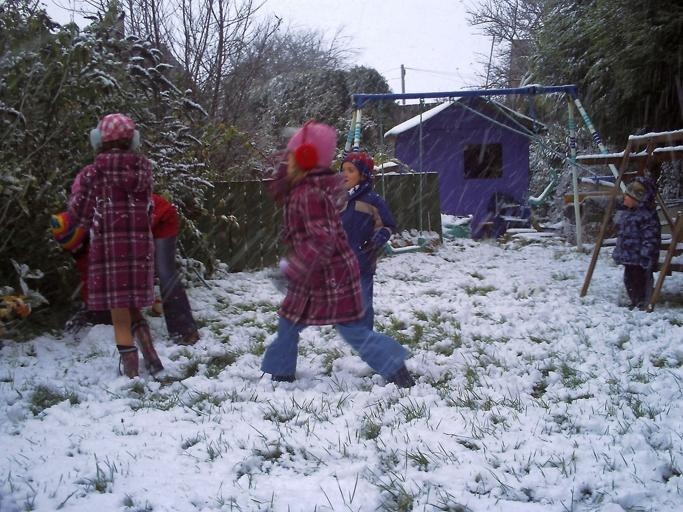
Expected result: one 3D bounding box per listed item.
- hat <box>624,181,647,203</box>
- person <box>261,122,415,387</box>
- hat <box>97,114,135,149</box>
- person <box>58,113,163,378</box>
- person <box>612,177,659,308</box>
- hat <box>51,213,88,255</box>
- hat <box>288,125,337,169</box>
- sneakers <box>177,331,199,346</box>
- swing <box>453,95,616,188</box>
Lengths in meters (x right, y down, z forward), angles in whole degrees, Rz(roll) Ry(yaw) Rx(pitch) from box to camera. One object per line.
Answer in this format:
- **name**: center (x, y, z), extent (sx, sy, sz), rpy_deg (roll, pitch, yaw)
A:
- **hat**: center (3.219, -0.705, 5.925), extent (0.155, 0.200, 0.221), rpy_deg (13, -18, 44)
- **person**: center (-0.097, 0.021, 3.864), extent (1.017, 1.933, 0.553), rpy_deg (-4, 8, -12)
- **hat**: center (-1.755, -0.974, 4.207), extent (0.227, 0.207, 0.234), rpy_deg (-5, 12, -22)
- **person**: center (-1.752, -0.063, 4.162), extent (0.616, 2.020, 0.336), rpy_deg (-5, 8, -21)
- **person**: center (3.193, -0.145, 5.841), extent (0.446, 1.371, 0.590), rpy_deg (3, 10, 33)
- **hat**: center (-2.109, -0.146, 4.097), extent (0.228, 0.332, 0.234), rpy_deg (-32, -39, 25)
- **hat**: center (-0.207, -0.777, 3.739), extent (0.331, 0.323, 0.329), rpy_deg (12, 21, 7)
- **sneakers**: center (-1.414, 0.766, 4.952), extent (0.123, 0.115, 0.151), rpy_deg (-4, -8, 24)
- **swing**: center (4.934, -2.969, 14.236), extent (3.783, 2.099, 1.365), rpy_deg (9, 50, 23)
